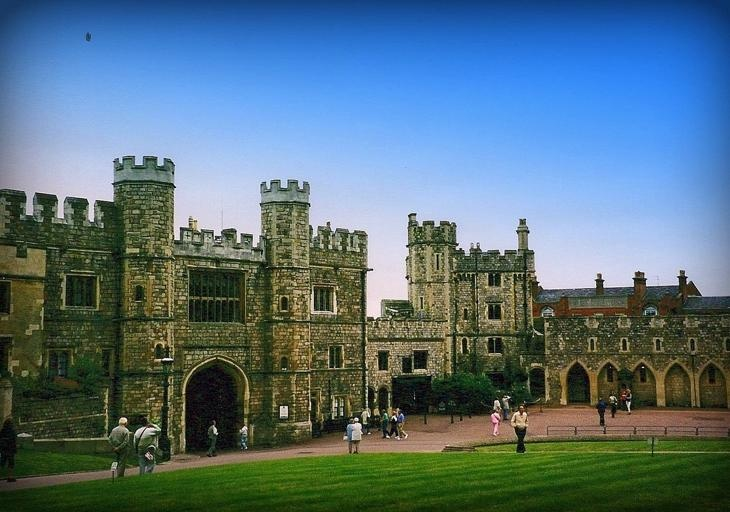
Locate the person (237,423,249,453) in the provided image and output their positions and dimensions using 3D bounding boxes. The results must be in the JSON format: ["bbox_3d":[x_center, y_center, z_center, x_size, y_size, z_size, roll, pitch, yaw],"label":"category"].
[{"bbox_3d":[-6.421,9.571,51.943,0.498,1.315,1.025,1,-9,-8],"label":"person"}]
